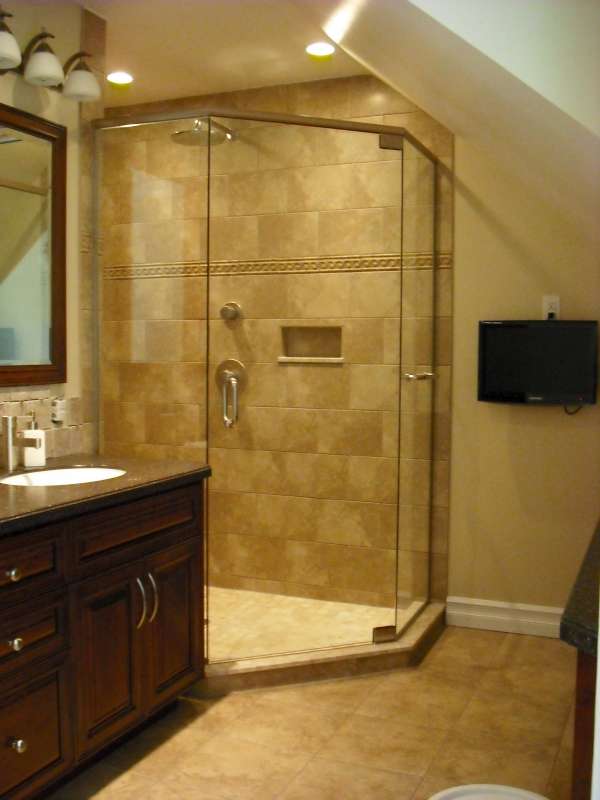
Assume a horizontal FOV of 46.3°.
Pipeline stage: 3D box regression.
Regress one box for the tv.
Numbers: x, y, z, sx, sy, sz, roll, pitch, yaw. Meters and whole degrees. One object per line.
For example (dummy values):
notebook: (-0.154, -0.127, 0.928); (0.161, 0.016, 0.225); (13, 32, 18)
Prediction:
tv: (1.024, -0.168, 2.961); (0.378, 0.291, 0.049); (3, 5, 26)
